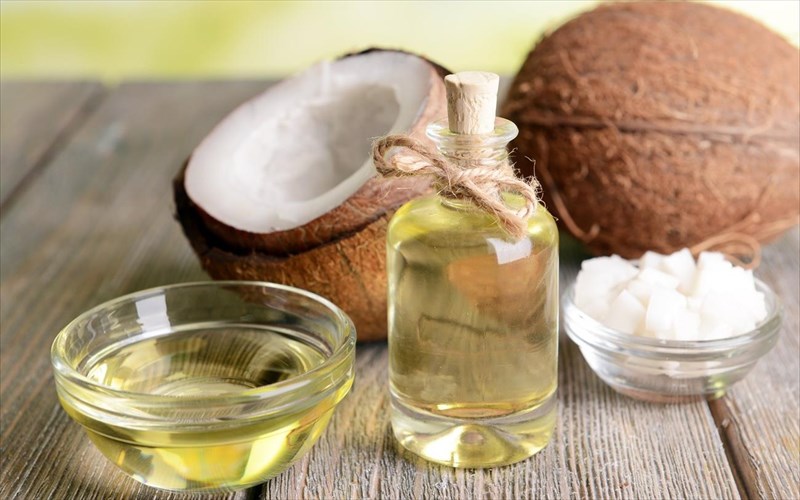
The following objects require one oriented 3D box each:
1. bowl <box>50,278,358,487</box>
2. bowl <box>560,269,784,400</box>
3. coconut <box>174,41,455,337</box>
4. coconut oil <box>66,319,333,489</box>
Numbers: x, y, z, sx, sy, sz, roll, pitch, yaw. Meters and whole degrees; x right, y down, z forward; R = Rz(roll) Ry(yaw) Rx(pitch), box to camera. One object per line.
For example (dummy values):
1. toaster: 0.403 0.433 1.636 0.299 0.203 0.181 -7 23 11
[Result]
1. bowl: -0.236 0.133 0.857 0.289 0.126 0.282 1 24 0
2. bowl: 0.366 0.146 1.031 0.241 0.096 0.241 1 3 0
3. coconut: -0.059 -0.070 1.103 0.402 0.278 0.379 -15 44 15
4. coconut oil: -0.217 0.162 0.891 0.258 0.114 0.261 15 2 22
